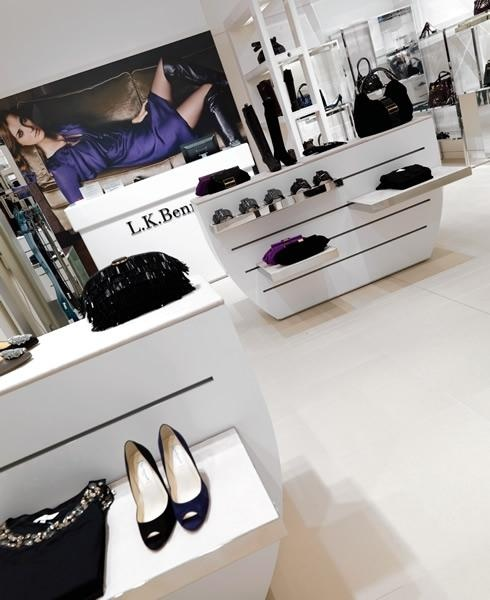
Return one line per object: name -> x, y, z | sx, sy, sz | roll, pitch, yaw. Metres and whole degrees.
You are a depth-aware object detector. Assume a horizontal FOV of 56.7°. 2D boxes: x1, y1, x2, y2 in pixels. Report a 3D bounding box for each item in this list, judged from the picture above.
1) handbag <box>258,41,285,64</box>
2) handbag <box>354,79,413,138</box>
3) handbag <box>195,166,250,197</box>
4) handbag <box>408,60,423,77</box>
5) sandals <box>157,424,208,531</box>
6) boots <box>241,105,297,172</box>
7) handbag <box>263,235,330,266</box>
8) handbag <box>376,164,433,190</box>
handbag -> 0.226, -2.303, 4.202 | 0.243, 0.151, 0.531 | -16, 22, 11
handbag -> 0.931, -1.289, 3.017 | 0.327, 0.320, 0.317 | -12, 23, 3
handbag -> -0.163, -0.808, 3.079 | 0.371, 0.105, 0.368 | -21, 22, -1
handbag -> 2.300, -3.179, 6.222 | 0.234, 0.226, 0.137 | 12, 29, 34
sandals -> -0.152, 0.434, 1.127 | 0.091, 0.066, 0.274 | -19, 42, -9
boots -> 0.163, -1.082, 2.971 | 0.221, 0.444, 0.268 | -17, 23, 11
handbag -> 0.316, -0.307, 2.784 | 0.257, 0.092, 0.249 | -19, 6, -6
handbag -> 1.012, -0.773, 2.881 | 0.249, 0.099, 0.377 | -22, 22, -4
